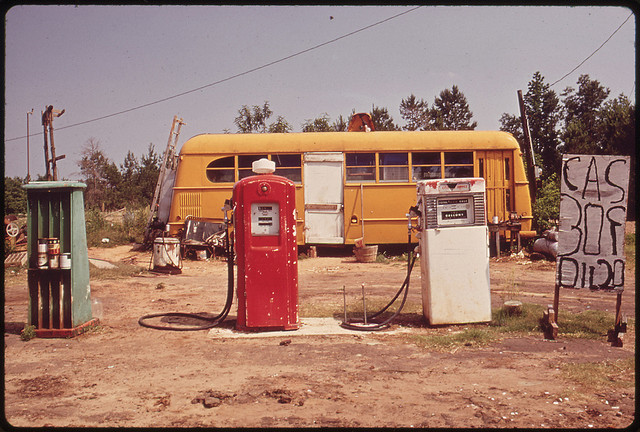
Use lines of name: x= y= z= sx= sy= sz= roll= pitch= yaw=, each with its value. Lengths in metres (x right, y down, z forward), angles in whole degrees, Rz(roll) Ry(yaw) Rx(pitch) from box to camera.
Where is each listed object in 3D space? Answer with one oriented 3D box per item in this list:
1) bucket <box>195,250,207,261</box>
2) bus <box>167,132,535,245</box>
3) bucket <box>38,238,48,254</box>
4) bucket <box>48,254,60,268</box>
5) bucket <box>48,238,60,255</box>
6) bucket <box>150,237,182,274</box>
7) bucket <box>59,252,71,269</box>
bucket: x=-3.814 y=1.288 z=18.223 sx=0.464 sy=0.447 sz=0.242 roll=0 pitch=-10 yaw=-4
bus: x=0.808 y=-0.718 z=19.713 sx=12.672 sy=4.465 sz=4.048 roll=-1 pitch=1 yaw=1
bucket: x=-5.033 y=0.533 z=10.098 sx=0.167 sy=0.267 sz=0.128 roll=-5 pitch=10 yaw=-26
bucket: x=-4.814 y=0.806 z=10.075 sx=0.206 sy=0.227 sz=0.204 roll=0 pitch=2 yaw=0
bucket: x=-4.824 y=0.548 z=10.085 sx=0.258 sy=0.268 sz=0.255 roll=1 pitch=-3 yaw=0
bucket: x=-4.412 y=1.134 z=15.996 sx=0.974 sy=1.052 sz=0.953 roll=-1 pitch=-3 yaw=0
bucket: x=-4.627 y=0.816 z=10.108 sx=0.249 sy=0.257 sz=0.245 roll=-1 pitch=-3 yaw=0
